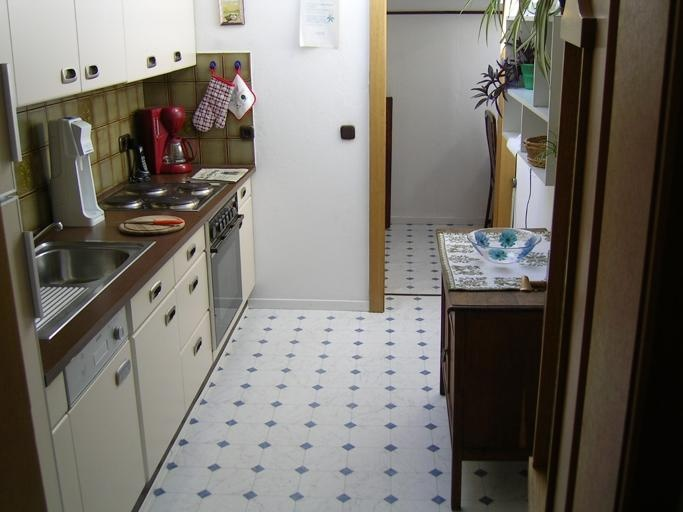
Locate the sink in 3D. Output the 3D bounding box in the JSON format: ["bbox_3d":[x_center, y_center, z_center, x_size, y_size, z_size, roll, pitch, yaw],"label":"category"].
[{"bbox_3d":[-1.178,0.021,2.353,0.268,0.133,0.240,4,17,-3],"label":"sink"}]

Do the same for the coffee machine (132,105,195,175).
[{"bbox_3d":[-1.166,-0.859,3.701,0.392,0.564,0.388,0,25,-2],"label":"coffee machine"}]

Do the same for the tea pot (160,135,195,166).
[{"bbox_3d":[-1.152,-0.745,3.703,0.207,0.226,0.146,4,15,-4],"label":"tea pot"}]

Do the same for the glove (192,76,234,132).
[{"bbox_3d":[-0.908,-1.061,3.599,0.220,0.394,0.090,8,19,3],"label":"glove"}]

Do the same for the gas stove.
[{"bbox_3d":[-1.063,-0.379,3.168,0.628,0.101,0.631,-2,18,1],"label":"gas stove"}]

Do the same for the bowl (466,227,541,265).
[{"bbox_3d":[0.759,-0.053,2.424,0.208,0.086,0.225,-1,20,0],"label":"bowl"}]
